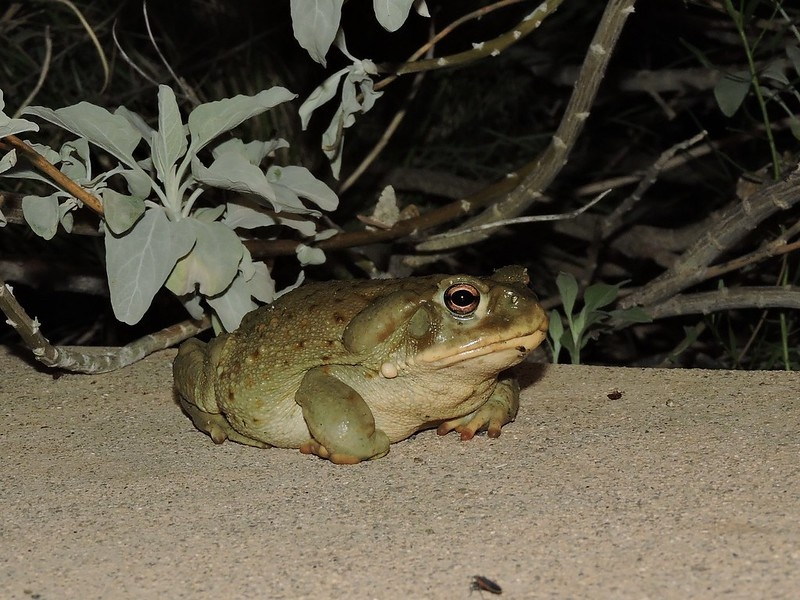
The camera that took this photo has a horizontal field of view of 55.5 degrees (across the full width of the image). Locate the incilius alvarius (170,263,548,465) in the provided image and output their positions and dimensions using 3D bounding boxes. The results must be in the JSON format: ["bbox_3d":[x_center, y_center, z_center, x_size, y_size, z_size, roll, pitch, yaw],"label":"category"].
[{"bbox_3d":[-0.144,0.227,2.648,1.046,0.878,0.377,8,100,27],"label":"incilius alvarius"}]
